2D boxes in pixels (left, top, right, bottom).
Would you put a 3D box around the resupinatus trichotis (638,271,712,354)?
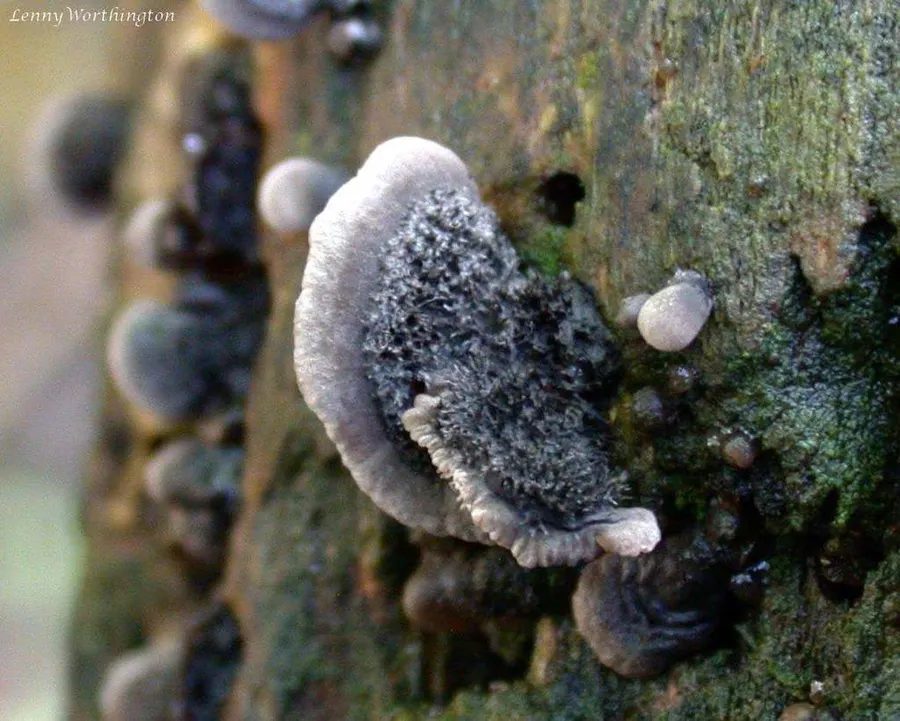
[{"bbox_3d":[0.993,-0.158,6.107,0.319,0.178,0.445,-25,-24,28],"label":"resupinatus trichotis"}]
